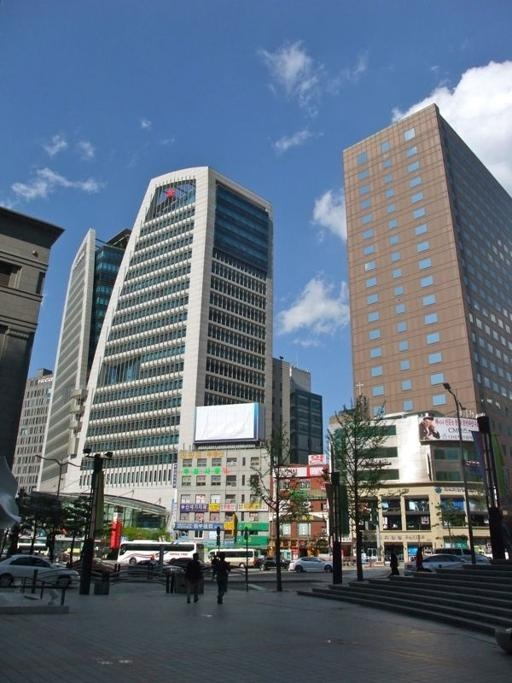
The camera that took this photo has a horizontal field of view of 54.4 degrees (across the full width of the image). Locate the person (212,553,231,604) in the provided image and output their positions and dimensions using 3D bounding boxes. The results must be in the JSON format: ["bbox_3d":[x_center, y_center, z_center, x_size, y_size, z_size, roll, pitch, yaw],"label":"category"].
[{"bbox_3d":[-1.224,8.352,17.768,0.608,1.747,0.546,-1,5,-17],"label":"person"}]

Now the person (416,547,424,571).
[{"bbox_3d":[7.706,10.340,23.668,0.247,1.021,1.427,-4,-21,14],"label":"person"}]
